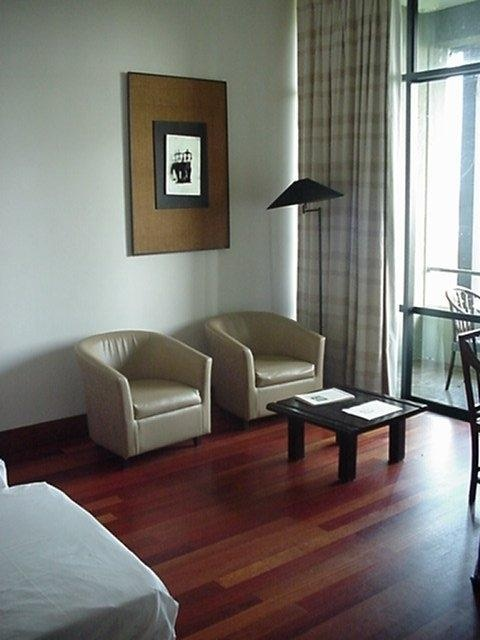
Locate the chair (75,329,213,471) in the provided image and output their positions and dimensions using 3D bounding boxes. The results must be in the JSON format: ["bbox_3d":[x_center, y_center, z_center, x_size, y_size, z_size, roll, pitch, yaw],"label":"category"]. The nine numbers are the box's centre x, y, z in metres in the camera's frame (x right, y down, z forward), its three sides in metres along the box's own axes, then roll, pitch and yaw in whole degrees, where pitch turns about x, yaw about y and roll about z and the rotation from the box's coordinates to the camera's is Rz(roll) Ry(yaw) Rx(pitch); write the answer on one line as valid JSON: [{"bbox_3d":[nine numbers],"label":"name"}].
[{"bbox_3d":[-0.661,0.470,3.346,0.805,0.743,0.649,-5,6,-39],"label":"chair"}]

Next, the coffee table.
[{"bbox_3d":[0.649,0.709,3.068,0.821,0.396,0.666,-5,7,-33],"label":"coffee table"}]

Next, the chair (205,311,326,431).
[{"bbox_3d":[0.220,0.431,4.009,0.777,0.965,0.871,-4,1,-14],"label":"chair"}]

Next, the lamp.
[{"bbox_3d":[0.555,-0.490,4.108,0.581,1.290,0.695,1,4,16],"label":"lamp"}]

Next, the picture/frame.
[{"bbox_3d":[-0.503,-1.244,3.850,1.046,1.974,0.055,-7,9,-45],"label":"picture/frame"}]
